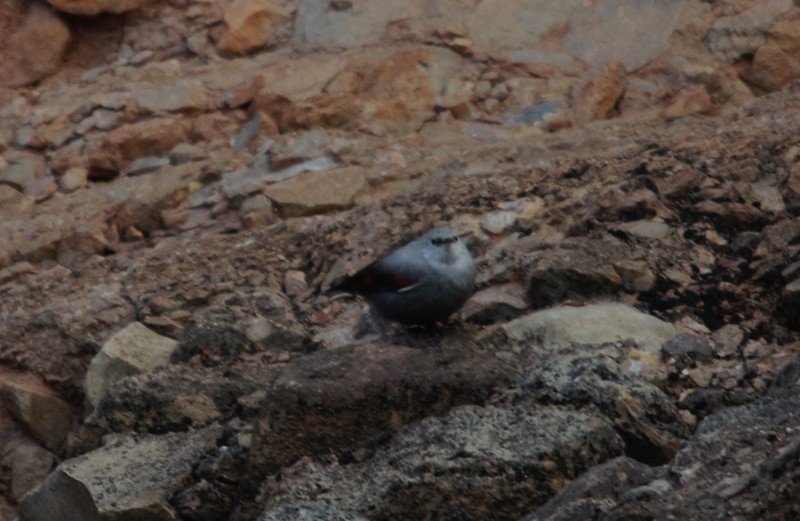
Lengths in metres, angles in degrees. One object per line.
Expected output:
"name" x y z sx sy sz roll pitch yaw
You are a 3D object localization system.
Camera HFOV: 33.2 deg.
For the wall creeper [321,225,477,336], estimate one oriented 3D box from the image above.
"wall creeper" 0.107 0.196 11.254 1.058 0.817 0.267 -13 20 11
